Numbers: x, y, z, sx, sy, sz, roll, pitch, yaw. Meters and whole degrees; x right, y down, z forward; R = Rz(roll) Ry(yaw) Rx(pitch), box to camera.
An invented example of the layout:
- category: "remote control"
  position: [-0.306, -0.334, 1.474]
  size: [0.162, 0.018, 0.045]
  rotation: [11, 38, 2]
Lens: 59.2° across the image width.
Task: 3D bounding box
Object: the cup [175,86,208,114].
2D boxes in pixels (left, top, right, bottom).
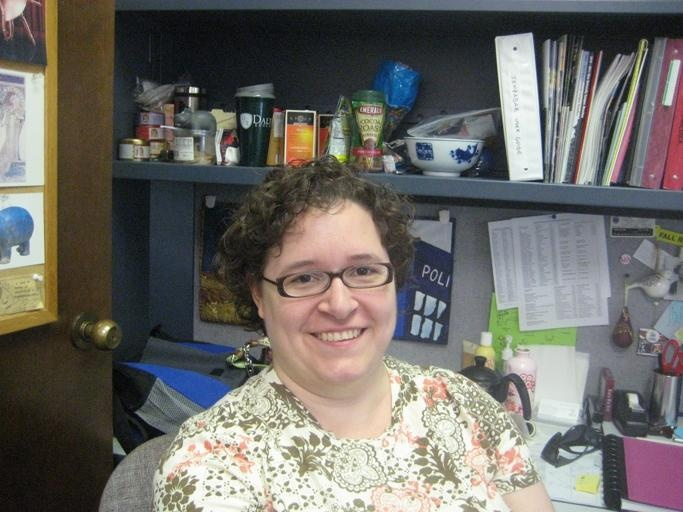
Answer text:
- category: "cup"
  position: [-0.471, -0.483, 1.904]
  size: [0.089, 0.095, 0.089]
  rotation: [2, 8, 0]

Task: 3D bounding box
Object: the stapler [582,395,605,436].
- category: "stapler"
  position: [0.765, 0.477, 1.818]
  size: [0.049, 0.033, 0.092]
  rotation: [-2, 41, 12]

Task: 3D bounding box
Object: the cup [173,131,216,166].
- category: "cup"
  position: [-0.446, -0.323, 1.836]
  size: [0.108, 0.077, 0.109]
  rotation: [2, 0, 0]

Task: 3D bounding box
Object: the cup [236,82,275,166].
- category: "cup"
  position: [-0.255, -0.382, 1.771]
  size: [0.110, 0.238, 0.080]
  rotation: [1, 10, -11]

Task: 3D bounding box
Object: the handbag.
- category: "handbag"
  position: [-0.496, 0.390, 1.773]
  size: [0.367, 0.134, 0.289]
  rotation: [11, 15, 36]

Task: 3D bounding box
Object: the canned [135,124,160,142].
- category: "canned"
  position: [-0.607, -0.385, 1.888]
  size: [0.063, 0.057, 0.063]
  rotation: [1, 1, 4]

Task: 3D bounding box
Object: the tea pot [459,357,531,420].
- category: "tea pot"
  position: [0.454, 0.392, 1.817]
  size: [0.218, 0.218, 0.126]
  rotation: [4, 0, 16]

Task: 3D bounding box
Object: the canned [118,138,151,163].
- category: "canned"
  position: [-0.643, -0.324, 1.860]
  size: [0.075, 0.054, 0.074]
  rotation: [-5, 9, -45]
